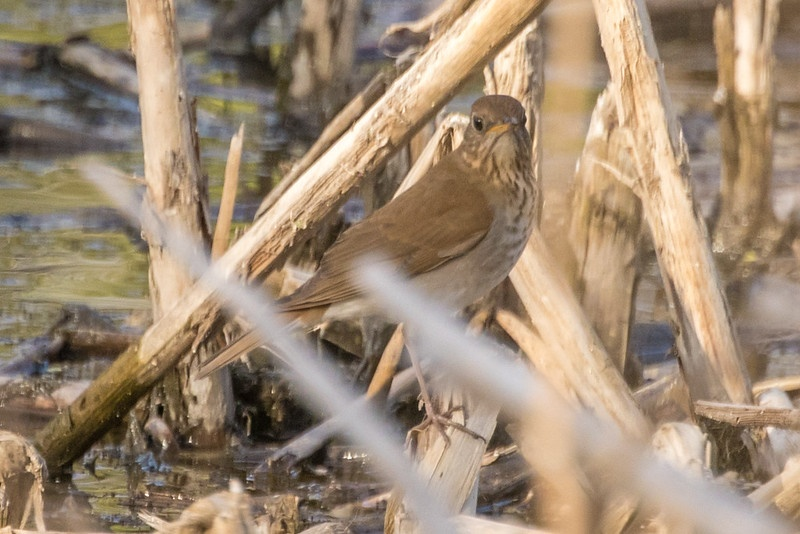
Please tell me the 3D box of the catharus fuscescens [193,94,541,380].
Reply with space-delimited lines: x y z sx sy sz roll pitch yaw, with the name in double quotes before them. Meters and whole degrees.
"catharus fuscescens" 0.110 -0.495 12.742 2.212 2.149 0.529 3 9 3
